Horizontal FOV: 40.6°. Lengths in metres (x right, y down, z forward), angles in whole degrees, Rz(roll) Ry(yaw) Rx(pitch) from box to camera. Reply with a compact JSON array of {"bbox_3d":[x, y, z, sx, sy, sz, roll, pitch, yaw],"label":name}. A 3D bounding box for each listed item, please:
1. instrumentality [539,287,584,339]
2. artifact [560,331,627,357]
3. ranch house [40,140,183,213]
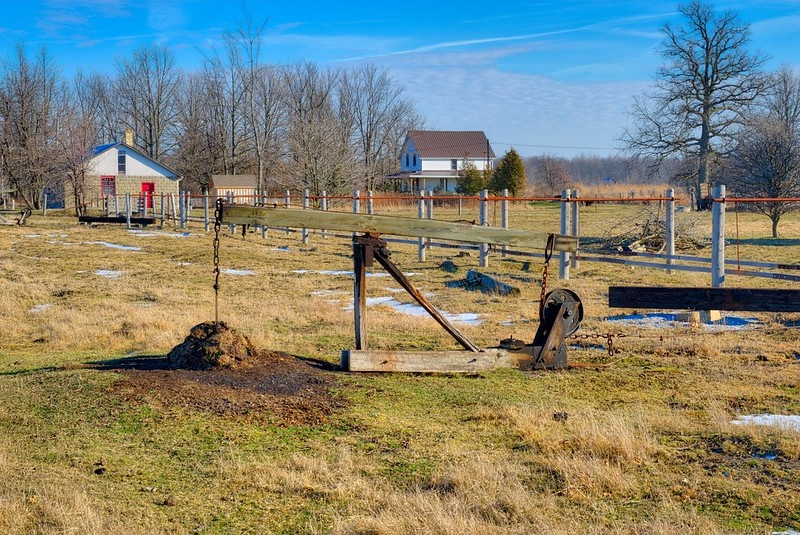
[{"bbox_3d":[3.753,1.102,25.337,1.083,1.334,0.387,4,1,-8],"label":"instrumentality"},{"bbox_3d":[4.784,1.744,26.554,1.289,0.507,1.592,5,8,12],"label":"artifact"},{"bbox_3d":[-16.583,-5.345,63.898,7.141,3.912,8.392,1,8,-13],"label":"ranch house"}]
